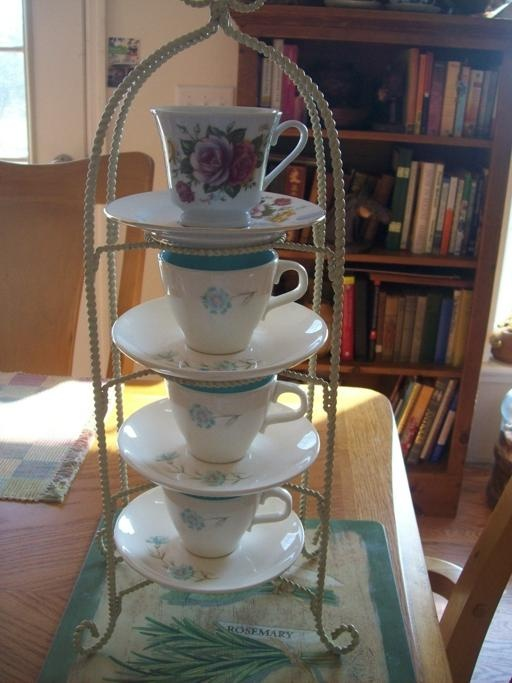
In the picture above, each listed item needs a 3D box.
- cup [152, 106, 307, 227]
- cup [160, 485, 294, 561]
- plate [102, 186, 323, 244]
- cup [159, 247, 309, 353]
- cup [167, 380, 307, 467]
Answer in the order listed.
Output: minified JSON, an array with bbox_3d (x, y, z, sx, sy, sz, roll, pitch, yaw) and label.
[{"bbox_3d":[-0.025,-0.138,0.477,0.124,0.083,0.097,-9,21,-24],"label":"cup"},{"bbox_3d":[-0.025,0.156,0.541,0.112,0.064,0.081,5,9,8],"label":"cup"},{"bbox_3d":[-0.023,-0.111,0.509,0.140,0.015,0.135,-19,22,-19],"label":"plate"},{"bbox_3d":[-0.024,-0.035,0.508,0.118,0.077,0.085,0,16,-9],"label":"cup"},{"bbox_3d":[-0.016,0.063,0.518,0.120,0.075,0.086,3,8,-5],"label":"cup"}]
